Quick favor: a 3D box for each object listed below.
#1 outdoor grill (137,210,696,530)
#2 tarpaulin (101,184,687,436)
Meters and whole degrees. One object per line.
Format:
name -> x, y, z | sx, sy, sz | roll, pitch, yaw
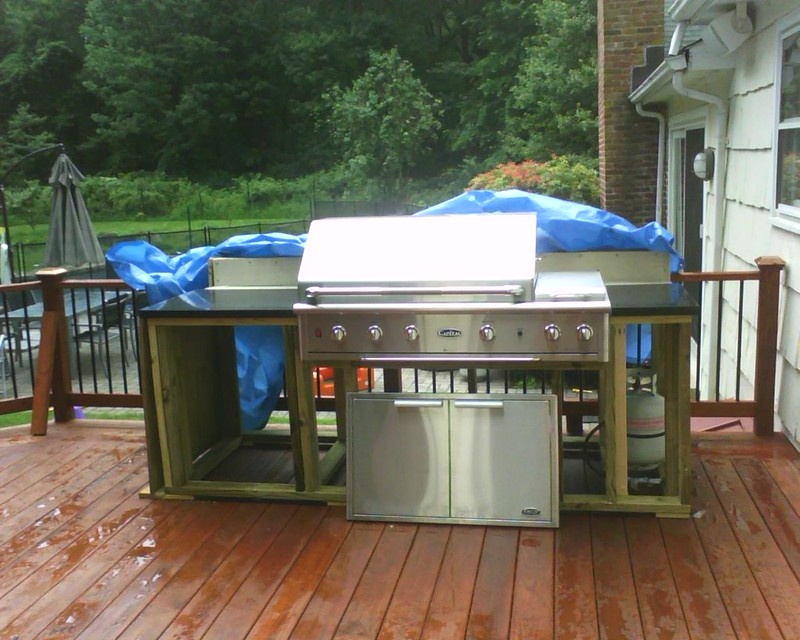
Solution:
outdoor grill -> 0.106, 0.247, 4.244 | 2.734, 1.304, 0.956 | -2, 17, 18
tarpaulin -> -0.157, -0.003, 4.619 | 2.910, 1.224, 0.717 | -4, 2, 16
